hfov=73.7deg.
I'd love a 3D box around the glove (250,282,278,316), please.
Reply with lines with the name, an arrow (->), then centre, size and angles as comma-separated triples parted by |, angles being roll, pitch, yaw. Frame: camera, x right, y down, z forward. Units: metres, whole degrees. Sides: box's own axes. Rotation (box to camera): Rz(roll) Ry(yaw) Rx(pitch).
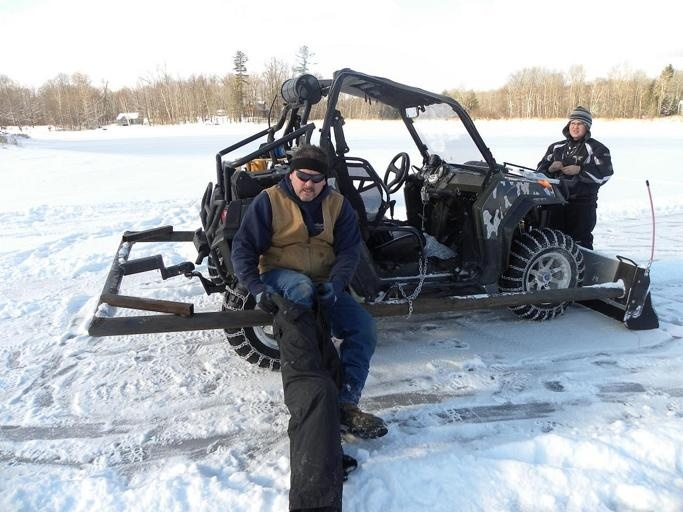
glove -> -0.512, 0.265, 3.006 | 0.155, 0.077, 0.203 | -22, 57, -27

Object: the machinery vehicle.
machinery vehicle -> 0.359, -0.188, 4.407 | 4.213, 1.838, 2.825 | -3, 12, -16

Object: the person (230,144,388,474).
person -> -0.167, 0.203, 3.092 | 0.967, 1.817, 1.042 | -11, 19, -22

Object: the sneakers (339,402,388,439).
sneakers -> 0.114, 1.035, 2.896 | 0.327, 0.134, 0.164 | 12, 43, 4

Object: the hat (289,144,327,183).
hat -> -0.221, -0.642, 3.217 | 0.251, 0.190, 0.254 | 9, 9, 13

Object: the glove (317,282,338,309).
glove -> -0.102, 0.265, 3.069 | 0.121, 0.131, 0.154 | 13, 8, -15
